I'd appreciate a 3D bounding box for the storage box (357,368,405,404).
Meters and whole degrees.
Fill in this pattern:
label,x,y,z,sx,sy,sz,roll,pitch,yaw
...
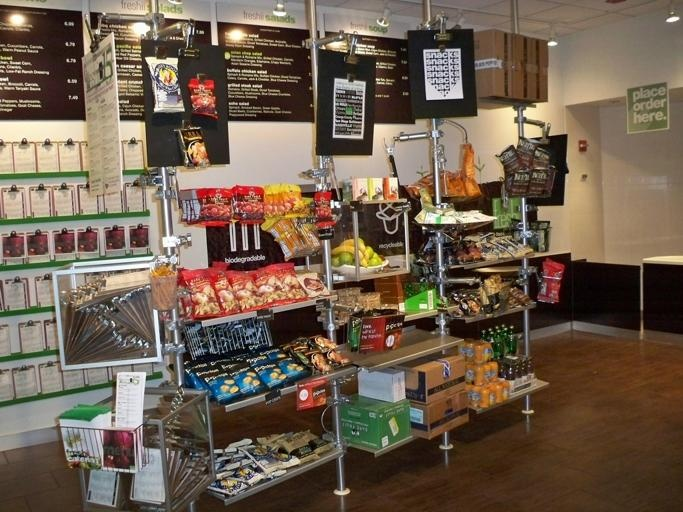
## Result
label,x,y,z,sx,sy,sz,roll,pitch,yaw
storage box,0.213,0.939,3.990,0.401,0.202,0.190,11,-3,-36

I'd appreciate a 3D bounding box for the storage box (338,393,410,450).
label,x,y,z,sx,sy,sz,roll,pitch,yaw
storage box,0.238,1.175,3.916,0.417,0.217,0.401,-3,3,-44

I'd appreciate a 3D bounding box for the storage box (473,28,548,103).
label,x,y,z,sx,sy,sz,roll,pitch,yaw
storage box,1.495,-1.762,5.222,0.871,0.511,0.501,-12,16,-41

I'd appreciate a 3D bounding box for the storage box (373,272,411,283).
label,x,y,z,sx,sy,sz,roll,pitch,yaw
storage box,0.408,0.174,4.324,0.187,0.040,0.162,0,5,20

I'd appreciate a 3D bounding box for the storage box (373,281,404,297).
label,x,y,z,sx,sy,sz,roll,pitch,yaw
storage box,0.388,0.265,4.353,0.210,0.169,0.147,-6,-11,37

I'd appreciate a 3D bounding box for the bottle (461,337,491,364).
label,x,y,z,sx,sy,sz,roll,pitch,yaw
bottle,1.128,0.768,4.473,0.233,0.161,0.214,0,0,0

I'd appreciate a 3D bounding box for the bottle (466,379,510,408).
label,x,y,z,sx,sy,sz,roll,pitch,yaw
bottle,1.214,1.127,4.494,0.223,0.101,0.297,-4,-1,37

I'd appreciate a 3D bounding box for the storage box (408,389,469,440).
label,x,y,z,sx,sy,sz,roll,pitch,yaw
storage box,0.717,1.194,4.194,0.280,0.209,0.515,-4,0,45

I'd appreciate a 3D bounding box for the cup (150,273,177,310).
label,x,y,z,sx,sy,sz,roll,pitch,yaw
cup,-0.909,0.193,2.808,0.137,0.202,0.081,-4,8,-1

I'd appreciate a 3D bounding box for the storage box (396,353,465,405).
label,x,y,z,sx,sy,sz,roll,pitch,yaw
storage box,0.683,0.938,4.196,0.313,0.208,0.568,0,2,40

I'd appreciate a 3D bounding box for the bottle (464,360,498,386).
label,x,y,z,sx,sy,sz,roll,pitch,yaw
bottle,1.139,0.953,4.483,0.223,0.121,0.223,-3,-1,0

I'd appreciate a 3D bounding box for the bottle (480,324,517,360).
label,x,y,z,sx,sy,sz,roll,pitch,yaw
bottle,1.404,0.781,4.858,0.119,0.223,0.336,-4,-2,45

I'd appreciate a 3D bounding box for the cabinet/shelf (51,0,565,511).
label,x,y,z,sx,sy,sz,roll,pitch,yaw
cabinet/shelf,-0.164,0.442,3.501,0.823,2.471,2.892,4,11,43
